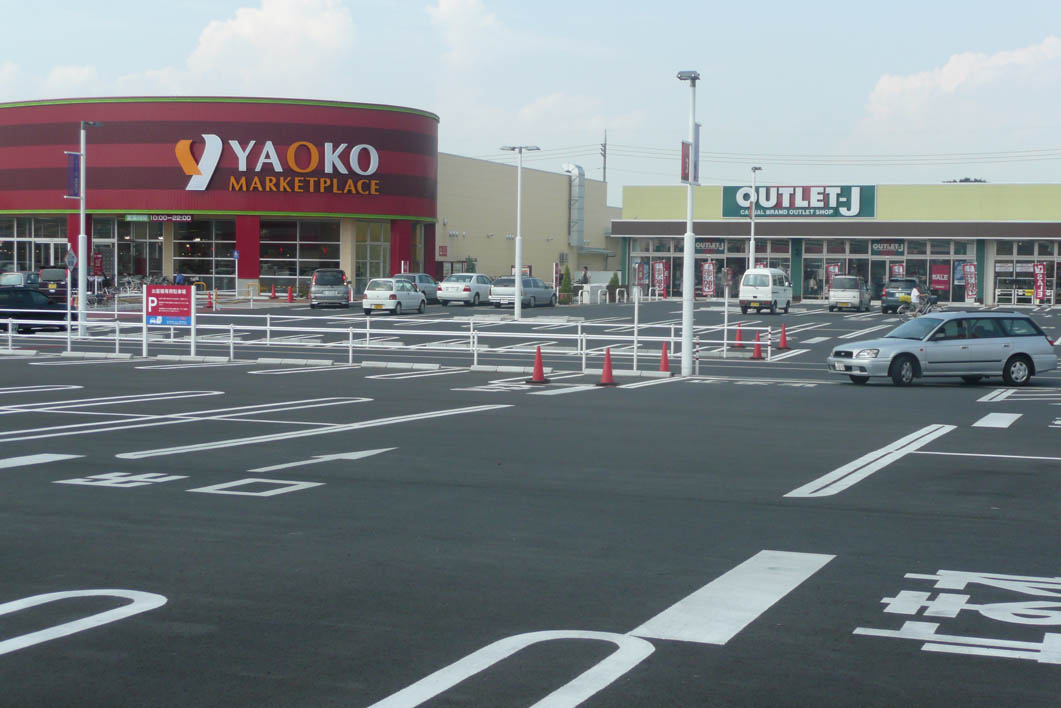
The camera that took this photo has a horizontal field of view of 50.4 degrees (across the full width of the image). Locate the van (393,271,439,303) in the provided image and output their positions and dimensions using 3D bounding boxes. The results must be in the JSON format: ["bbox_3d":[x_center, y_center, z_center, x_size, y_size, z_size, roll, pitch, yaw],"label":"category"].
[{"bbox_3d":[-5.950,-3.872,63.527,1.437,1.199,2.618,3,8,29],"label":"van"}]

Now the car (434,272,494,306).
[{"bbox_3d":[-3.763,-3.602,62.908,2.092,1.745,2.611,3,6,23],"label":"car"}]

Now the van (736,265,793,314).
[{"bbox_3d":[12.136,-3.255,57.931,1.645,2.307,2.890,4,7,34],"label":"van"}]

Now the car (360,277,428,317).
[{"bbox_3d":[-6.504,-2.773,53.687,1.301,1.661,2.909,4,7,34],"label":"car"}]

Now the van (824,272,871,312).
[{"bbox_3d":[18.016,-3.450,62.925,1.551,1.460,2.613,3,10,24],"label":"van"}]

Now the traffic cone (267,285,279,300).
[{"bbox_3d":[-15.288,-3.609,66.681,0.758,0.749,0.735,-10,17,-28],"label":"traffic cone"}]

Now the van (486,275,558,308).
[{"bbox_3d":[-0.478,-3.344,60.741,1.545,1.119,3.628,2,6,28],"label":"van"}]

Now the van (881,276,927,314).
[{"bbox_3d":[19.400,-2.766,59.129,1.786,1.642,3.836,2,12,21],"label":"van"}]
